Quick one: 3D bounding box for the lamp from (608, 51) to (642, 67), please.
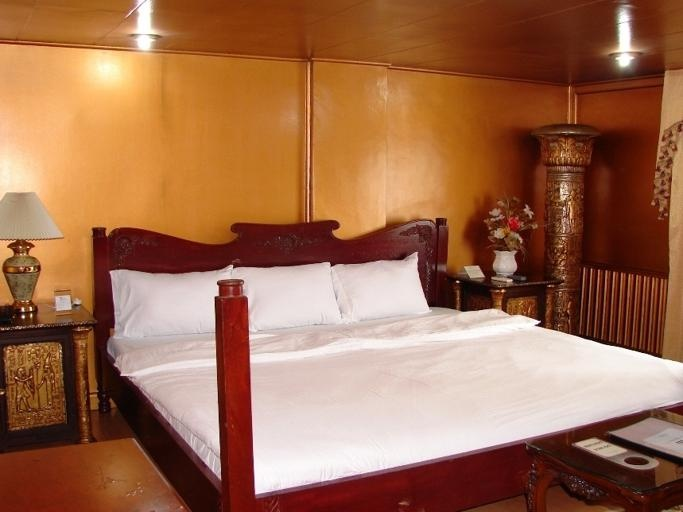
[{"bbox_3d":[2.272,-1.585,4.524,0.157,0.055,0.155,0,8,16],"label":"lamp"}]

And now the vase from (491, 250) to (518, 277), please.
[{"bbox_3d":[1.542,0.061,5.350,0.252,0.249,0.246,-3,8,-38],"label":"vase"}]

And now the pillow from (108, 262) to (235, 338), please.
[{"bbox_3d":[-1.188,0.307,3.766,0.583,0.339,0.139,0,-26,-11],"label":"pillow"}]

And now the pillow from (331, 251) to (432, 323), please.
[{"bbox_3d":[0.318,0.286,4.541,0.713,0.480,0.185,-4,-21,-25],"label":"pillow"}]

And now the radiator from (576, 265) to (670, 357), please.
[{"bbox_3d":[2.805,0.484,5.594,0.060,0.761,1.030,-4,7,-22],"label":"radiator"}]

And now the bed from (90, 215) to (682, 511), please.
[{"bbox_3d":[0.155,0.581,3.396,1.854,0.928,1.742,-2,2,-30],"label":"bed"}]

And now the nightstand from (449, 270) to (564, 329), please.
[{"bbox_3d":[1.521,0.348,5.291,0.656,0.814,0.641,-4,7,-35],"label":"nightstand"}]

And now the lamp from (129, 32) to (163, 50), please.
[{"bbox_3d":[-1.385,-1.518,3.964,0.126,0.044,0.124,-8,12,-44],"label":"lamp"}]
